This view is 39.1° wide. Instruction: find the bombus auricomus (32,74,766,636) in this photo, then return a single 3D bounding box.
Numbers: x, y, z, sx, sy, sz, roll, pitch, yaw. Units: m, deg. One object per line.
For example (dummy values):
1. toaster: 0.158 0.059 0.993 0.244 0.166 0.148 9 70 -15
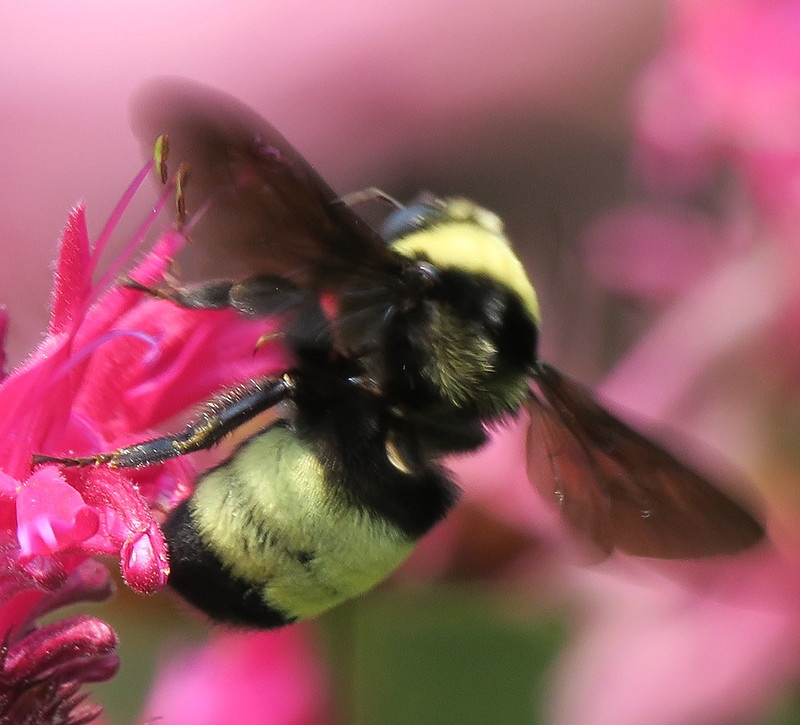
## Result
1. bombus auricomus: -0.031 0.013 0.695 0.327 0.348 0.162 38 91 -18
